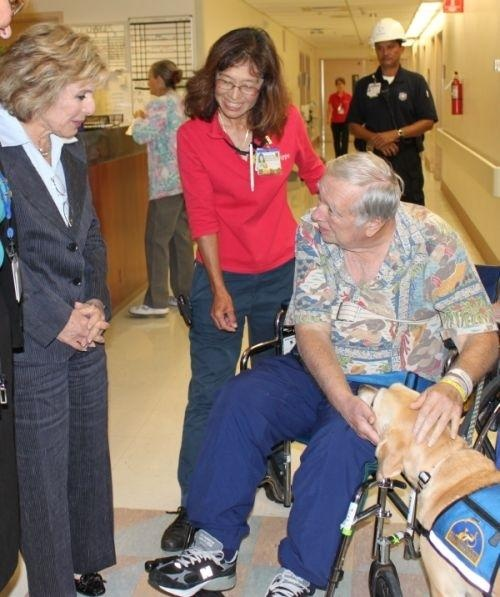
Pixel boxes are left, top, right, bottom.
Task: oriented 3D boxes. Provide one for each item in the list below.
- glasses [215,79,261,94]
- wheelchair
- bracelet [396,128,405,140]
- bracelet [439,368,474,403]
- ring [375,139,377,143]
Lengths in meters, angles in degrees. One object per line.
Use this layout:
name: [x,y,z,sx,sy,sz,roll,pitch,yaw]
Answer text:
glasses: [-0.040,-0.777,1.759,0.169,0.071,0.065,-6,12,-7]
wheelchair: [0.216,0.385,1.456,0.970,1.272,0.522,-19,27,-40]
bracelet: [1.365,-1.491,4.365,0.054,0.091,0.081,-6,7,8]
bracelet: [0.533,0.213,1.248,0.074,0.071,0.087,2,23,14]
ring: [1.164,-1.445,4.429,0.008,0.033,0.018,-10,14,-30]
